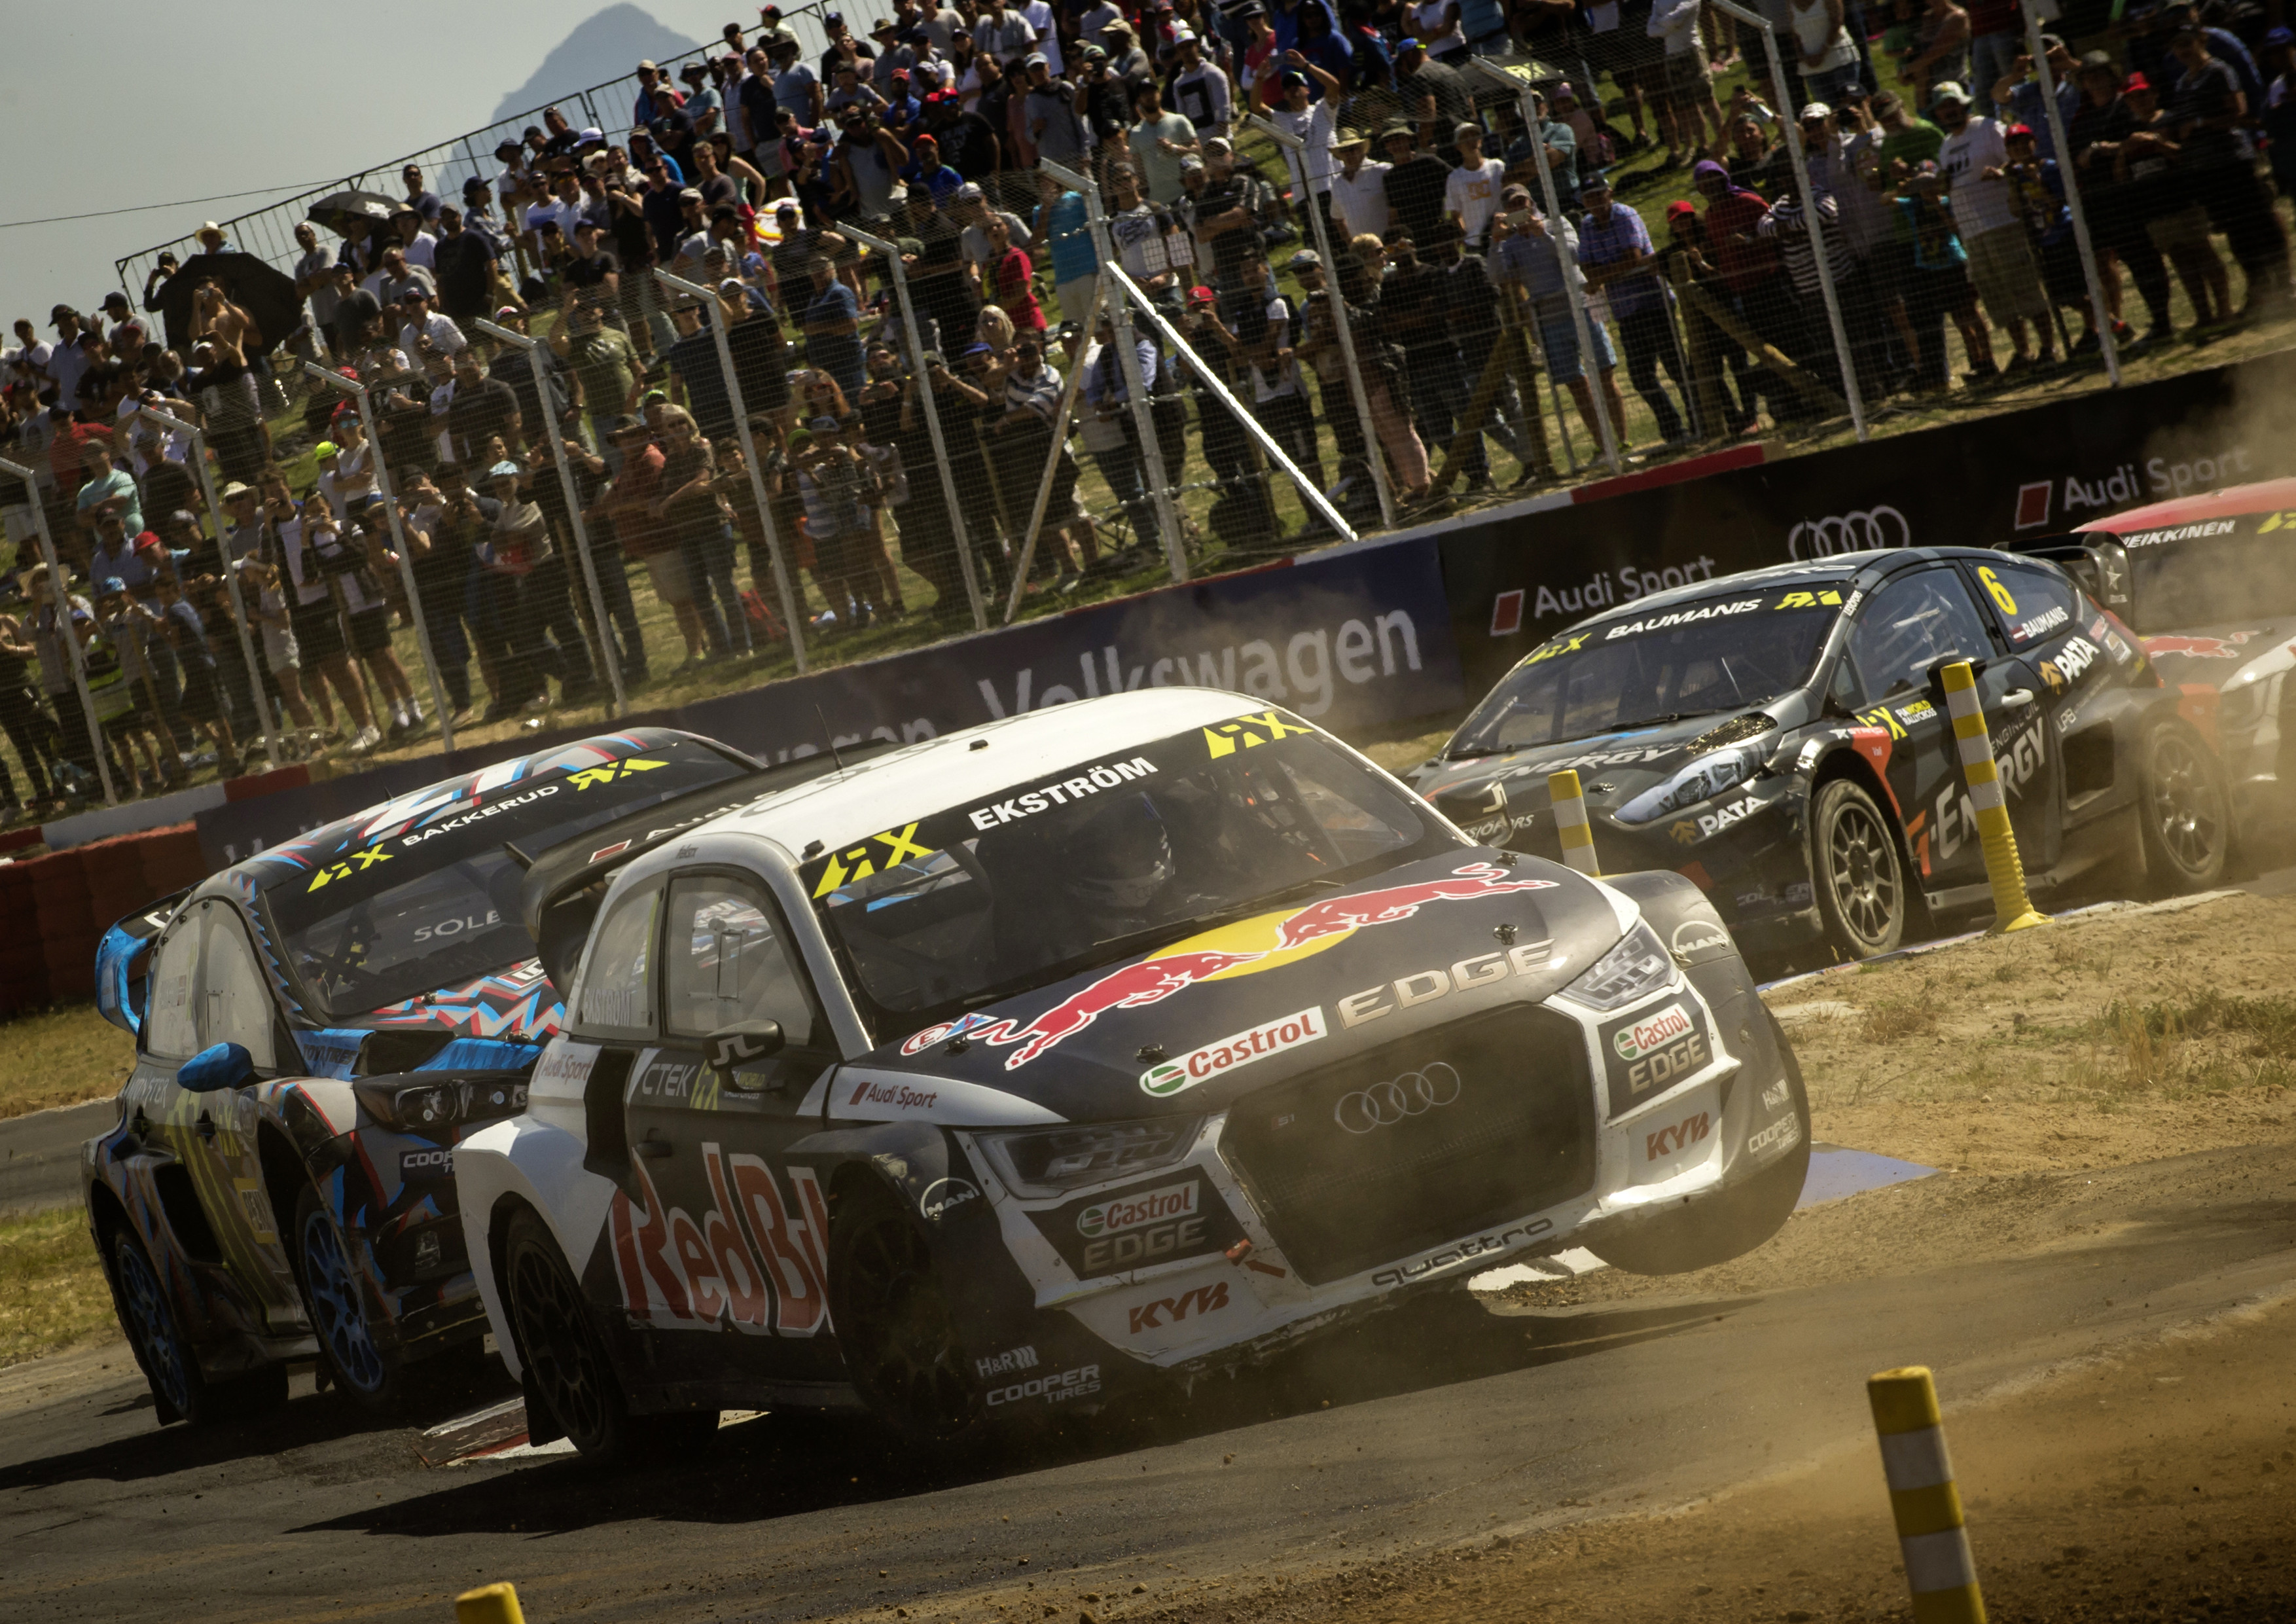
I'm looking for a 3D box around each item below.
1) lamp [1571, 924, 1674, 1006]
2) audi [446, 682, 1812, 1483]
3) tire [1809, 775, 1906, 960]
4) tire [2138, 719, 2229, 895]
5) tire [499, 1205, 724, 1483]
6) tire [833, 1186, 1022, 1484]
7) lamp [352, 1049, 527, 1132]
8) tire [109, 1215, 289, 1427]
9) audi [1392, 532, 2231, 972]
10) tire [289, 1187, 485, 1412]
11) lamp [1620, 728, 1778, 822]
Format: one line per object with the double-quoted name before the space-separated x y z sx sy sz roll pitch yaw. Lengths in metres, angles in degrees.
"lamp" 1.496 0.505 7.672 0.112 0.162 0.542 -7 6 41
"audi" -0.255 0.873 8.243 4.368 2.013 2.195 -9 4 29
"tire" 3.478 0.266 11.932 0.149 0.596 0.824 -6 6 43
"tire" 5.483 -0.015 12.965 0.859 0.925 0.281 -1 1 -38
"tire" -1.972 1.968 9.300 0.892 0.976 0.289 -10 -5 38
"tire" -0.744 1.600 7.586 0.241 0.872 0.677 -7 2 -28
"lamp" -2.856 1.122 9.890 0.409 0.161 0.426 -11 10 -24
"tire" -4.569 2.379 11.592 0.343 1.079 1.038 -22 -4 -40
"audi" 3.523 -0.342 12.657 3.410 1.679 2.292 -4 -4 -38
"tire" -3.272 2.109 10.226 1.074 0.497 0.698 5 6 42
"lamp" 2.635 -0.127 11.768 0.923 0.321 0.282 -25 7 -19
